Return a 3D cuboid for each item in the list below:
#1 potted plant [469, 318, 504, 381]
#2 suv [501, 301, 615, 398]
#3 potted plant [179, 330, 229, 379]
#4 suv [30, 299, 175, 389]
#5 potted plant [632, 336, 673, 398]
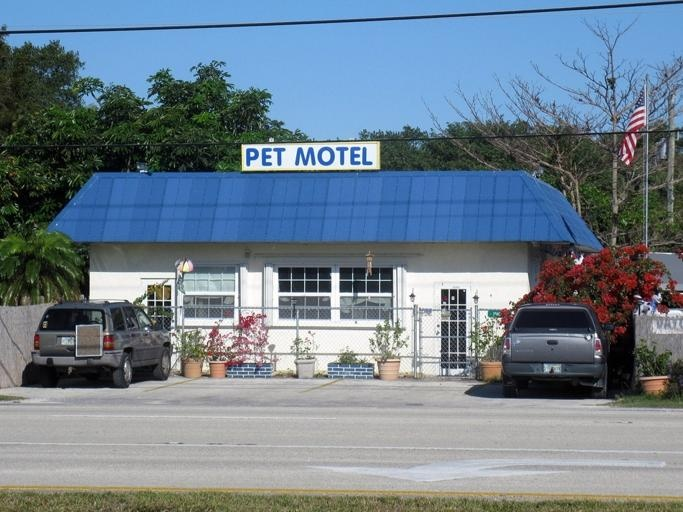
[{"bbox_3d":[4.786,2.993,50.005,1.033,2.113,0.867,0,-2,12],"label":"potted plant"},{"bbox_3d":[6.118,2.571,44.045,2.713,2.225,0.941,-1,8,0],"label":"suv"},{"bbox_3d":[-4.572,3.198,51.184,1.706,1.801,1.378,-1,8,-6],"label":"potted plant"},{"bbox_3d":[-7.540,2.745,48.977,2.960,2.689,5.806,0,-1,11],"label":"suv"},{"bbox_3d":[9.114,3.194,44.637,0.838,1.615,0.990,-3,0,23],"label":"potted plant"}]
